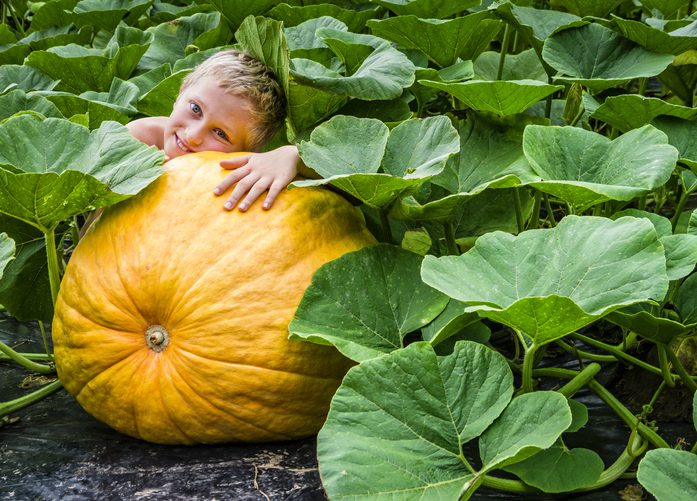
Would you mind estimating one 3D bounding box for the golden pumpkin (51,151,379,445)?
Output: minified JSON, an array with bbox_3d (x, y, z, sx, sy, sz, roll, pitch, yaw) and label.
[{"bbox_3d":[-0.325,0.154,2.800,1.185,0.817,0.577,-19,4,16],"label":"golden pumpkin"}]
